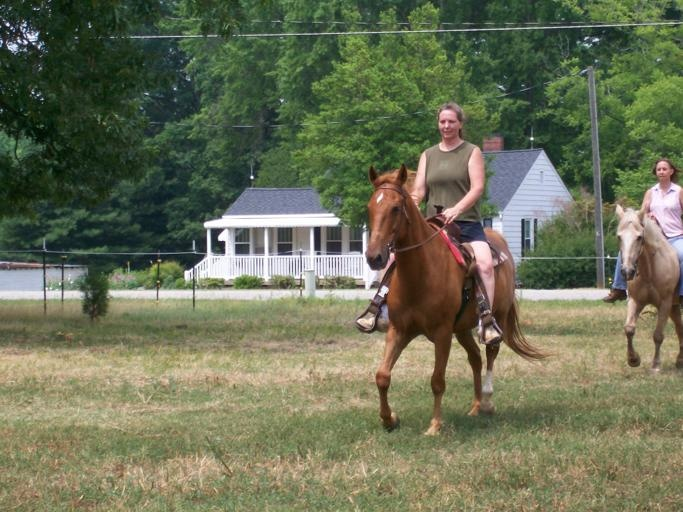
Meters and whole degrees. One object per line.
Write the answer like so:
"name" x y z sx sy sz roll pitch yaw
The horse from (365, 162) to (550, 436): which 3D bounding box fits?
"horse" 2.303 0.878 31.627 4.065 6.049 1.332 -7 13 -30
